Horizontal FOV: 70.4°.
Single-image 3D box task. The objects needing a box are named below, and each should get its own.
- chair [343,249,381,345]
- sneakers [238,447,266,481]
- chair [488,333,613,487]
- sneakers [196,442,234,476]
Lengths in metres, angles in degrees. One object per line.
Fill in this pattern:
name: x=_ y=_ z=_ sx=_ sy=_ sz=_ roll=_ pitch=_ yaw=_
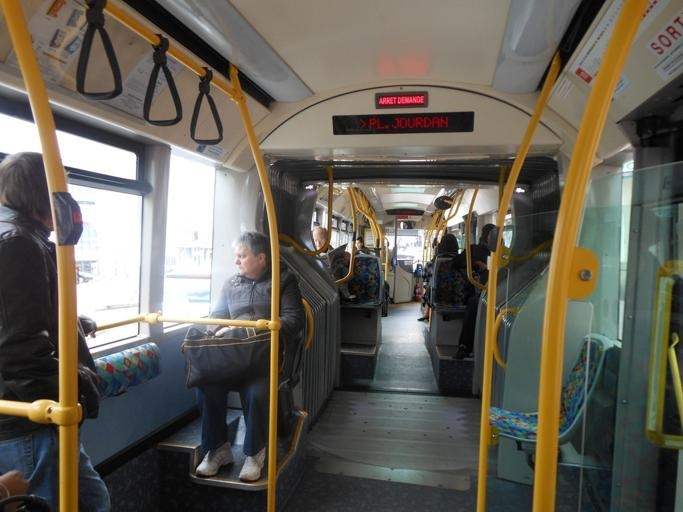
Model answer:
chair: x=0.294 y=0.648 z=6.870 sx=0.577 sy=1.306 sz=0.660 roll=2 pitch=6 yaw=2
sneakers: x=-0.622 y=1.485 z=3.396 sx=0.097 sy=0.188 sz=0.266 roll=1 pitch=-19 yaw=7
chair: x=1.155 y=0.838 z=2.777 sx=0.654 sy=0.740 sz=0.512 roll=-2 pitch=-1 yaw=11
sneakers: x=-0.932 y=1.505 z=3.606 sx=0.121 sy=0.153 sz=0.326 roll=-1 pitch=-3 yaw=18
